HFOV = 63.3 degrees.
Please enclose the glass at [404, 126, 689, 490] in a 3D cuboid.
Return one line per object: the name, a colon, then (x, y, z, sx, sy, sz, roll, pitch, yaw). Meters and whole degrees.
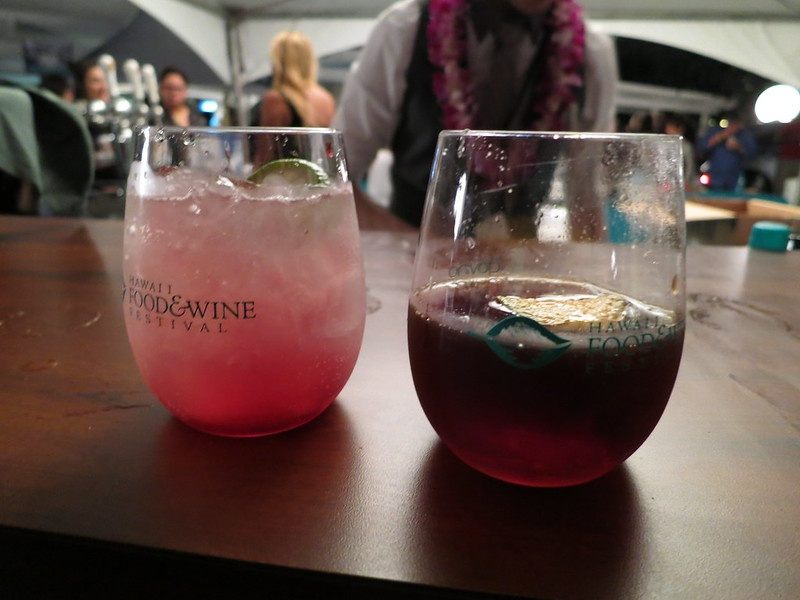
glass: (0.107, 0.008, 0.467, 0.192, 0.251, 0.074, 2, 12, 0)
